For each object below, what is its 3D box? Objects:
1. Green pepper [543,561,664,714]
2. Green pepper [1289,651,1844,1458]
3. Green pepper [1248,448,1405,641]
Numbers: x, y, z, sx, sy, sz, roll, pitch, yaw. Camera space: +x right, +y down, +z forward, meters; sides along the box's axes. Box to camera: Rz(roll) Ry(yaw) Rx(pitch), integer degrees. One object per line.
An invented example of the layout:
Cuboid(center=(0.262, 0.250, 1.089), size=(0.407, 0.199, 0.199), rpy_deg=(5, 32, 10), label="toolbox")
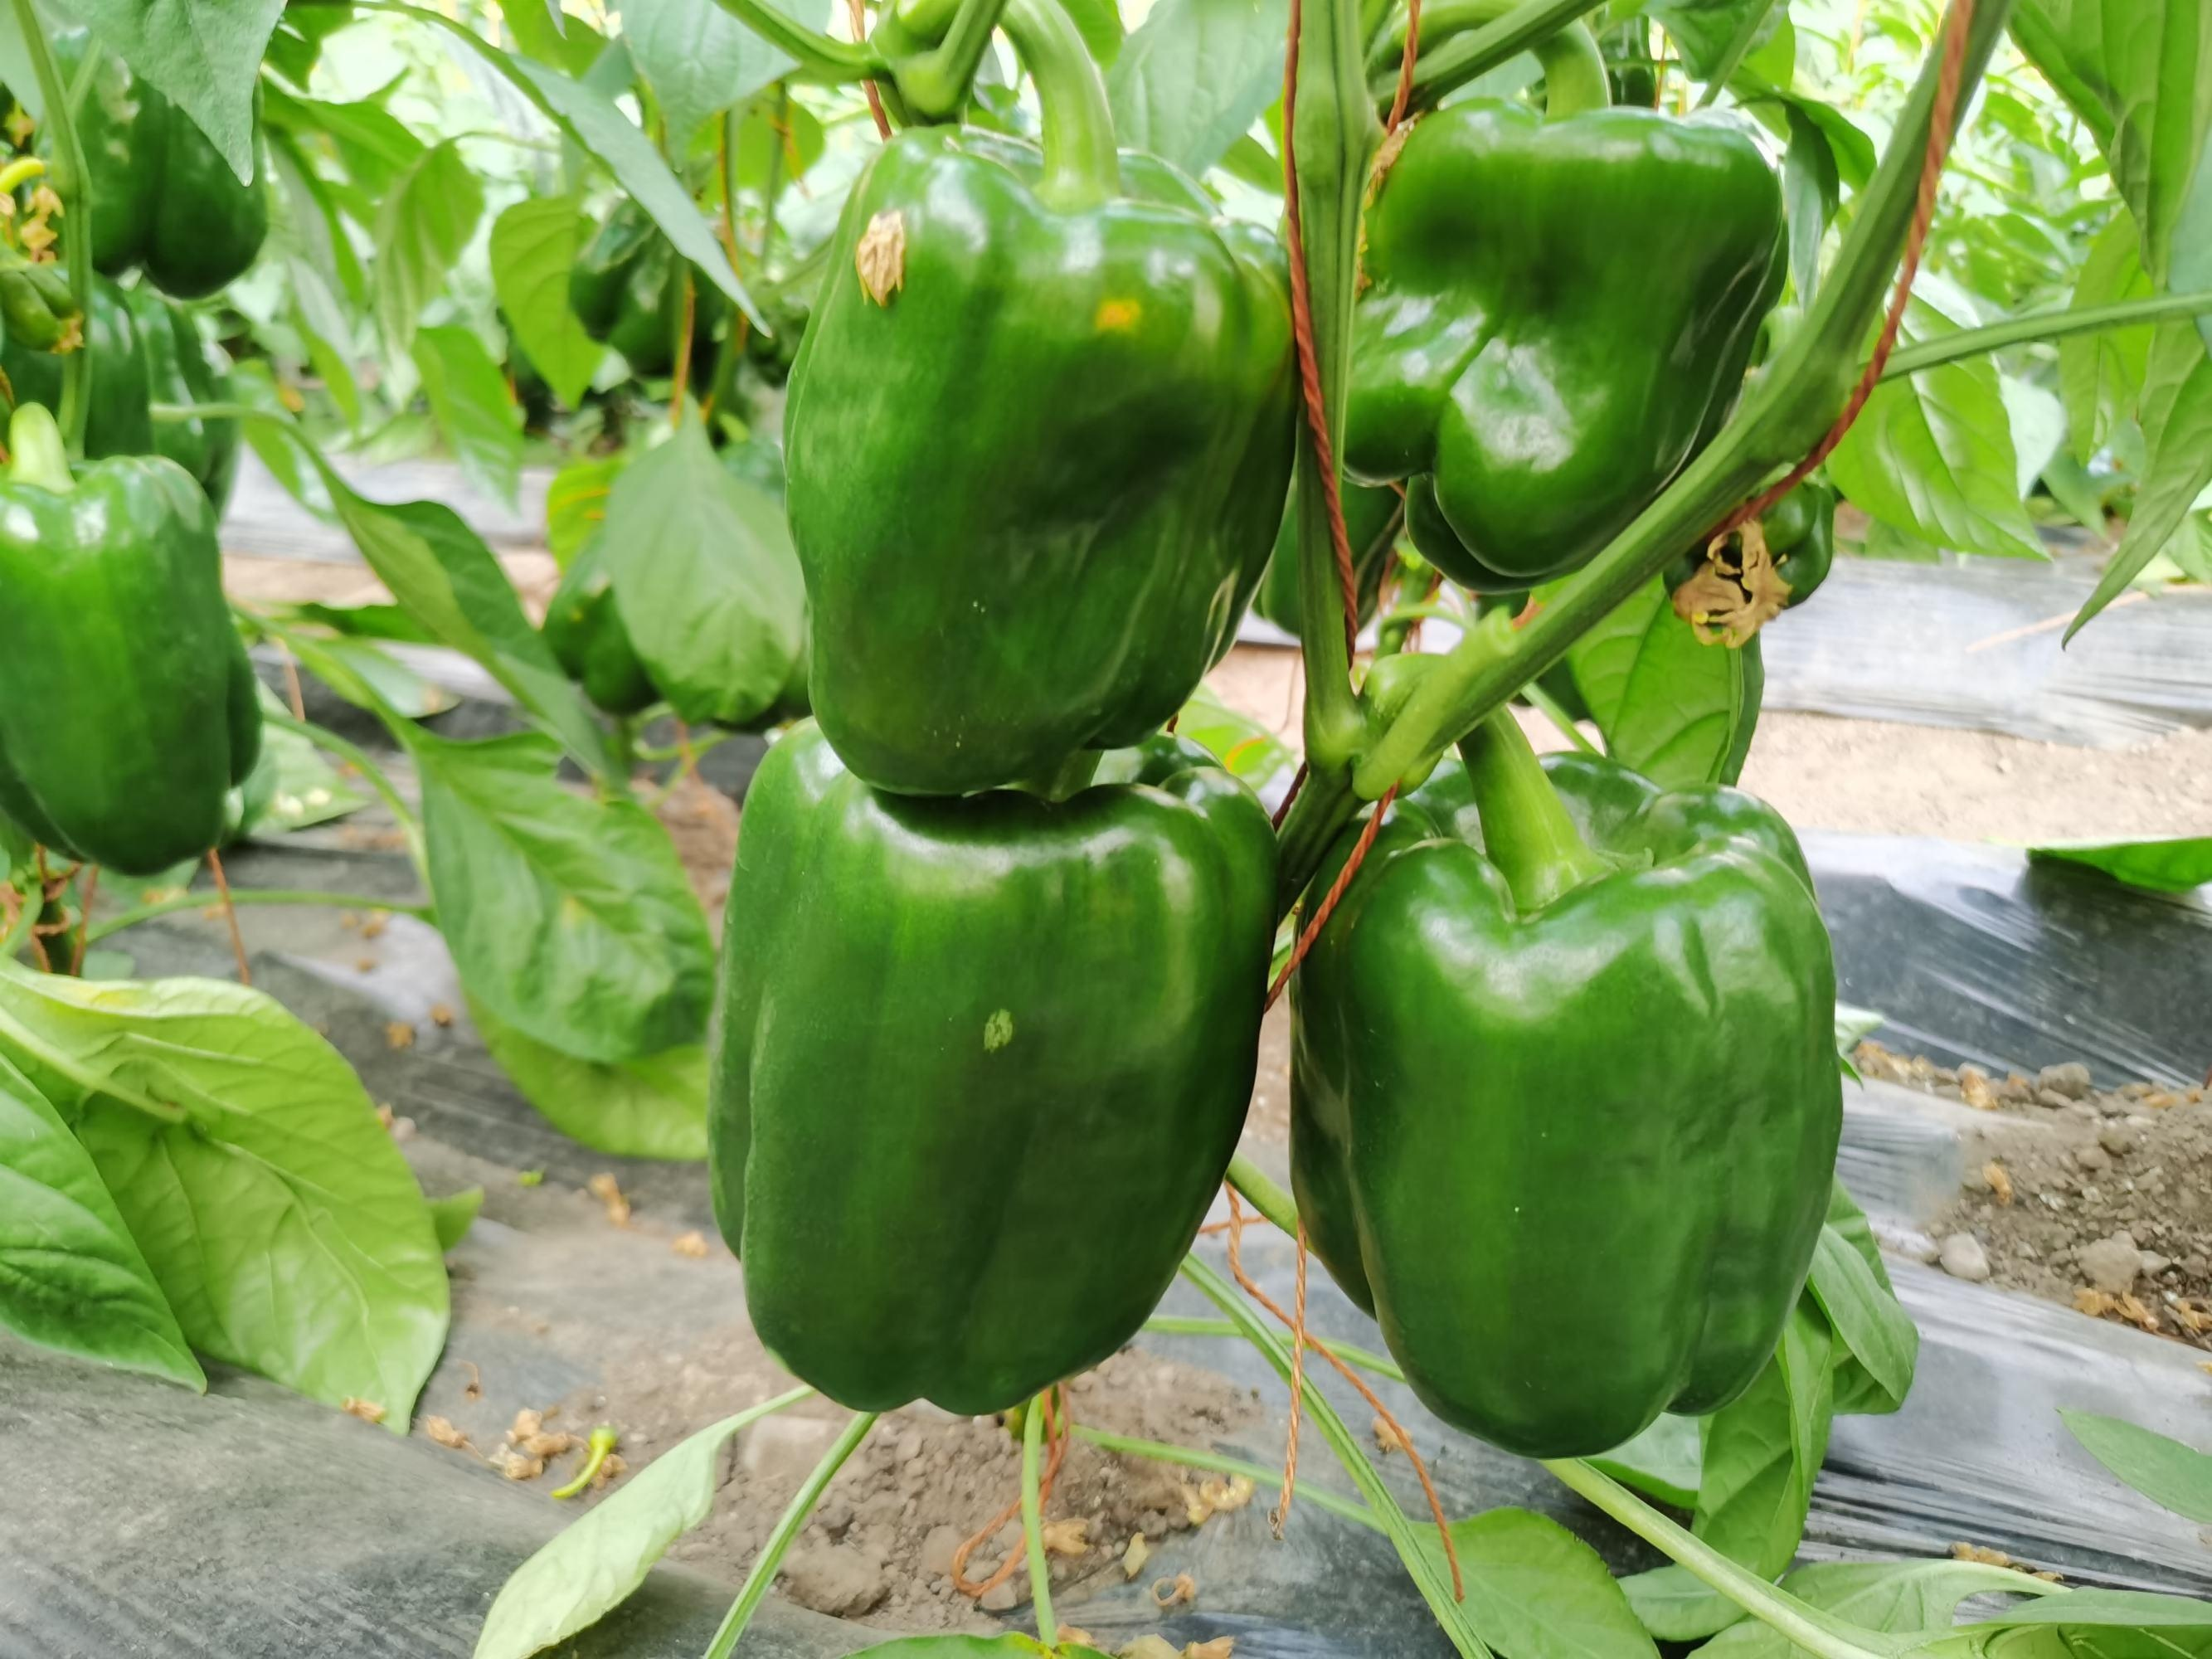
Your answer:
Cuboid(center=(-0.516, -0.186, 2.028), size=(0.109, 0.169, 0.105), rpy_deg=(14, 1, -5), label="Green pepper")
Cuboid(center=(0.278, 0.154, 1.198), size=(0.334, 0.401, 0.239), rpy_deg=(26, 29, 25), label="Green pepper")
Cuboid(center=(0.138, -0.184, 1.236), size=(0.087, 0.172, 0.095), rpy_deg=(-5, 29, 7), label="Green pepper")
